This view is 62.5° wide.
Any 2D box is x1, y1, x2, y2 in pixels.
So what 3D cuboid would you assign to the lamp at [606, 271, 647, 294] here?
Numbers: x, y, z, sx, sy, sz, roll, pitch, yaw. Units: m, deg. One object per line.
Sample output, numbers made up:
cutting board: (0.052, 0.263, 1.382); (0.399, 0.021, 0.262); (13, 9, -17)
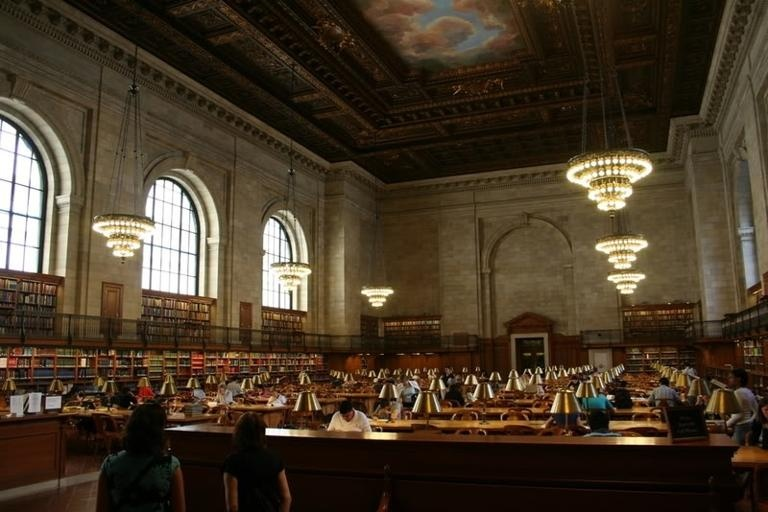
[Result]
lamp: (8.143, 0.820, 21.381); (1.332, 0.860, 1.307); (0, -12, 4)
